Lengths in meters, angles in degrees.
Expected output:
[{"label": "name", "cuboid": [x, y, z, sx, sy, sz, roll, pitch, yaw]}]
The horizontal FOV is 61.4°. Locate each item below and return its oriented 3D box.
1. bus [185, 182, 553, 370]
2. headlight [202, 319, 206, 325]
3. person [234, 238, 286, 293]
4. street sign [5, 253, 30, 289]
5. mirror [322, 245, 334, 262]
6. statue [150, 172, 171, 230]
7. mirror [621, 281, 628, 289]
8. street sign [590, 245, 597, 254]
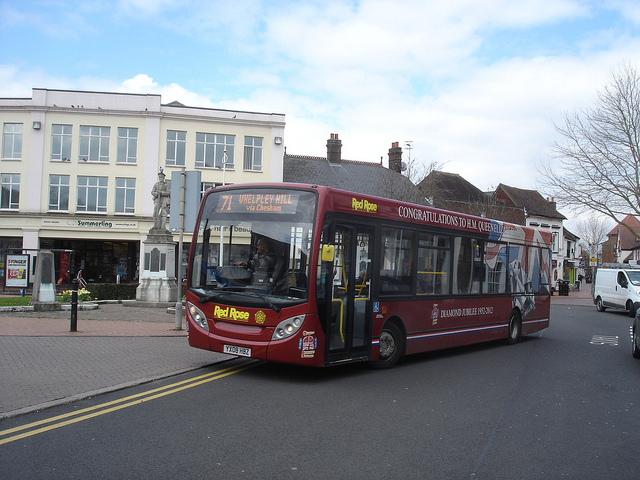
[{"label": "bus", "cuboid": [2.356, 1.058, 14.357, 3.321, 3.791, 11.623, 1, -3, 44]}, {"label": "headlight", "cuboid": [-2.196, 1.552, 10.127, 0.052, 0.109, 0.101, -14, 33, -14]}, {"label": "person", "cuboid": [-1.083, 0.446, 9.833, 0.886, 1.122, 0.602, 3, -4, 13]}, {"label": "street sign", "cuboid": [-12.131, 1.237, 21.456, 1.213, 1.926, 0.074, 0, 2, -12]}, {"label": "mirror", "cuboid": [0.128, 0.239, 9.371, 0.243, 0.385, 0.038, 1, -4, -3]}, {"label": "statue", "cuboid": [-7.333, -1.769, 24.685, 0.732, 1.966, 1.297, 2, 0, -19]}, {"label": "mirror", "cuboid": [15.721, 2.323, 27.827, 0.245, 0.281, 0.265, 0, -8, 10]}, {"label": "street sign", "cuboid": [50.301, 2.001, 98.804, 0.642, 0.766, 2.574, -4, -14, 37]}]
